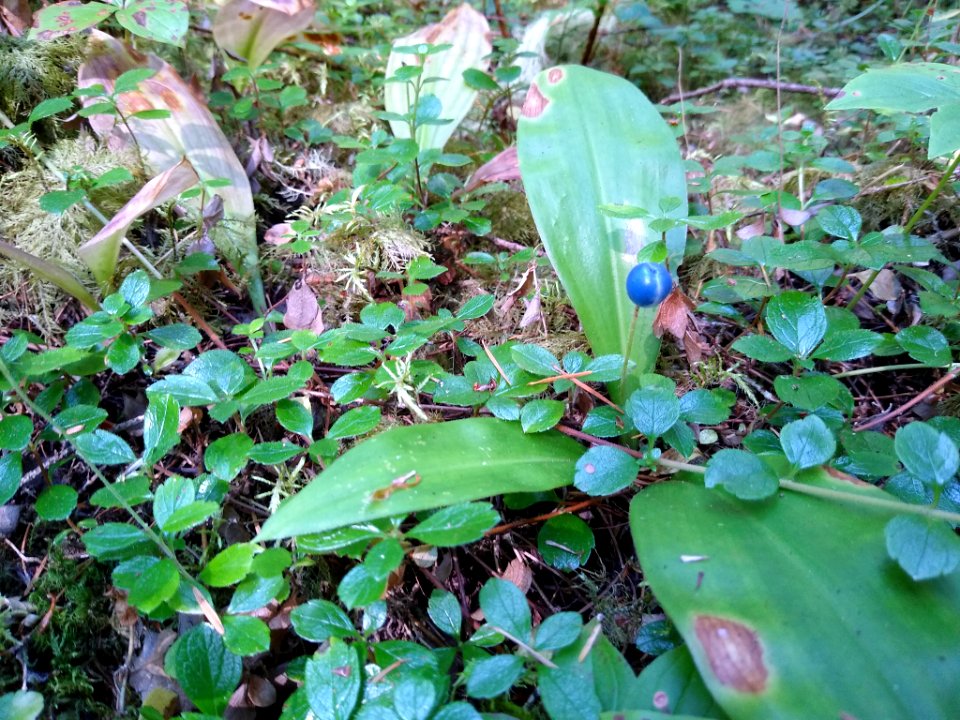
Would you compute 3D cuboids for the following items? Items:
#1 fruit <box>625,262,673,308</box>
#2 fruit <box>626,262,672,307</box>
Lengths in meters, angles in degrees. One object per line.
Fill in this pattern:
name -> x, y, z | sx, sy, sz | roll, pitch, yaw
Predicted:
fruit -> 0.456, -0.200, 1.843 | 0.141, 0.136, 0.141 | 1, -5, 6
fruit -> 0.441, -0.197, 1.841 | 0.114, 0.110, 0.113 | -1, 63, 2
